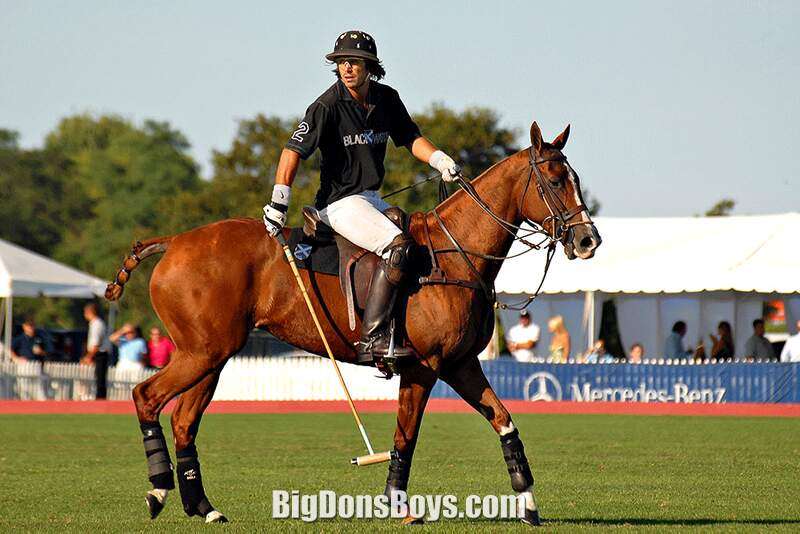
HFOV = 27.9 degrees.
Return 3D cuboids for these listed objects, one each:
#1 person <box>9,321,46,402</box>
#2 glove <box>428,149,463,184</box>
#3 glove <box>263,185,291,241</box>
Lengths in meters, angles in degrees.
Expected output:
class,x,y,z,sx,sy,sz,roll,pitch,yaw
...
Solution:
class,x,y,z,sx,sy,sz,roll,pitch,yaw
person,-10.084,2.852,43.810,1.027,3.029,0.930,0,-7,-20
glove,0.801,-1.829,29.443,0.413,0.694,0.285,-21,-29,-19
glove,-2.221,-1.031,29.176,0.485,0.943,0.364,-1,-4,-5
